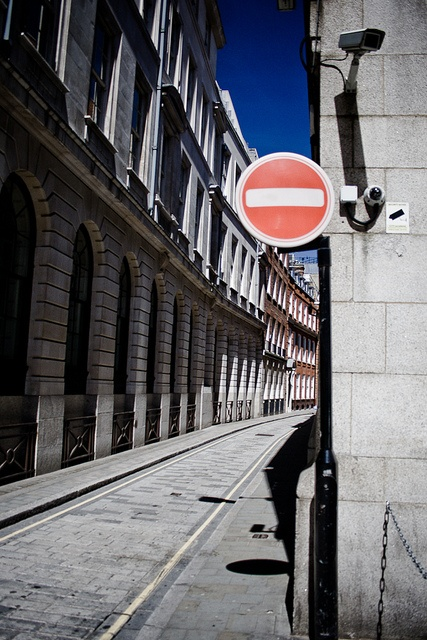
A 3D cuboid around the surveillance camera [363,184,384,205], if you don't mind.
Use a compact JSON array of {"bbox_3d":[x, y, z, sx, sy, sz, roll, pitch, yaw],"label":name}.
[{"bbox_3d":[1.266,-0.981,3.824,0.162,0.147,0.118,0,-7,21],"label":"surveillance camera"}]
